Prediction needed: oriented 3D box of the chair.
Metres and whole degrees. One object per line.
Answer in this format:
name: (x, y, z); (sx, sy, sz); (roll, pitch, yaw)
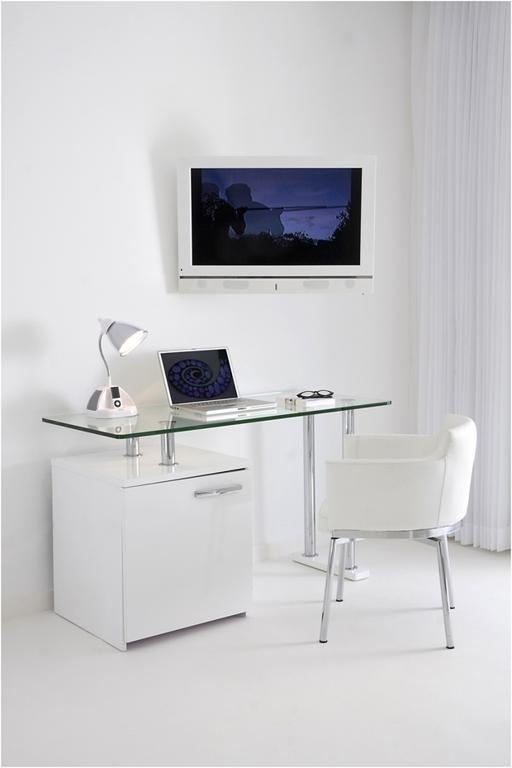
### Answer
chair: (0.452, 0.477, 2.112); (0.482, 0.655, 0.520); (1, -2, 10)

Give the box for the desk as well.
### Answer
desk: (-0.090, 0.449, 2.432); (1.188, 0.739, 0.470); (1, 0, -41)

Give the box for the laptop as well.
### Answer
laptop: (-0.151, -0.013, 2.436); (0.285, 0.216, 0.315); (2, 5, 41)
